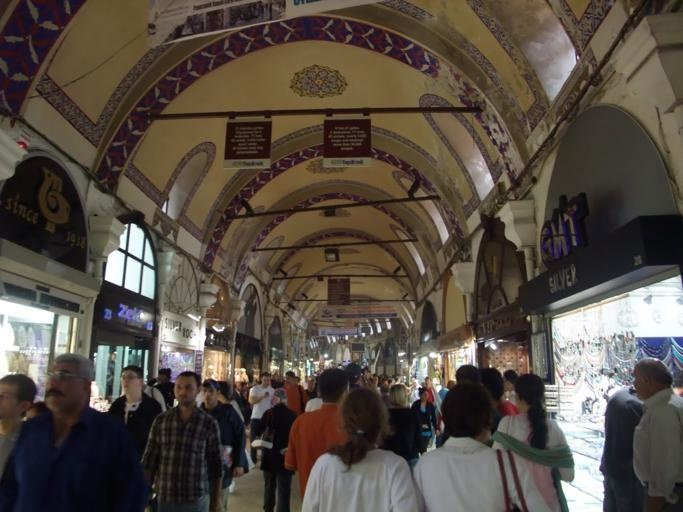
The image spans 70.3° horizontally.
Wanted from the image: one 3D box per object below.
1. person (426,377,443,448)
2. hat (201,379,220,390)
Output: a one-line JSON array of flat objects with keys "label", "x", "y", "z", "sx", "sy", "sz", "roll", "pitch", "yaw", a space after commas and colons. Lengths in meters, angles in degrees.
[{"label": "person", "x": 1.712, "y": 2.712, "z": 8.695, "sx": 0.373, "sy": 1.358, "sz": 0.416, "roll": -4, "pitch": -57, "yaw": 16}, {"label": "hat", "x": -1.467, "y": 1.463, "z": 5.454, "sx": 0.122, "sy": 0.113, "sz": 0.134, "roll": 6, "pitch": -19, "yaw": -5}]
